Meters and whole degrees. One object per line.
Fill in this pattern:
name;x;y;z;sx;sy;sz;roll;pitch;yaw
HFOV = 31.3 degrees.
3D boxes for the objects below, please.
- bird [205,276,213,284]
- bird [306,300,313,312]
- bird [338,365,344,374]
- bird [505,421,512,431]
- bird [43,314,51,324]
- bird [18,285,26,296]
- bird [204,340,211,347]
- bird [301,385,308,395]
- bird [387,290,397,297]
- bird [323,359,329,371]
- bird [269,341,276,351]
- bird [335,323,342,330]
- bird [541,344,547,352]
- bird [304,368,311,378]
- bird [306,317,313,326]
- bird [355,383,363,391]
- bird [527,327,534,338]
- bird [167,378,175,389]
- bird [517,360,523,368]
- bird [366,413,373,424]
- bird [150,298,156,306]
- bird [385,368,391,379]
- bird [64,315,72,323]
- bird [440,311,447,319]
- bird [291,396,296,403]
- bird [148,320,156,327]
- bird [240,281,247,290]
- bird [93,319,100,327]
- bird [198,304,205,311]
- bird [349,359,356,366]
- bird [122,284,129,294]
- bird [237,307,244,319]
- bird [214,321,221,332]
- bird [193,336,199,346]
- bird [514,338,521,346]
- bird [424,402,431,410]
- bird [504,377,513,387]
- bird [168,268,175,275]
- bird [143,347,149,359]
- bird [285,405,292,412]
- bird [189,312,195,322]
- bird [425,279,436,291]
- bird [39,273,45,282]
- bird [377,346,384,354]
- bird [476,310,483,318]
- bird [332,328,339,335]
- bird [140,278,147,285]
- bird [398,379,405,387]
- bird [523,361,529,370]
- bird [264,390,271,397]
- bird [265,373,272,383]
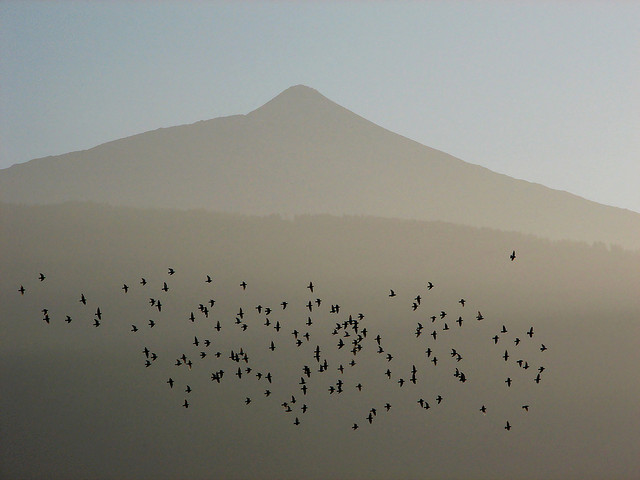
bird;-4.587;1.691;46.663;0.307;0.234;0.149;0;0;-8
bird;-0.474;2.769;46.592;0.246;0.399;0.487;0;0;4
bird;0.839;5.292;45.869;0.176;0.298;0.074;0;0;0
bird;7.463;7.543;45.511;0.306;0.500;0.120;0;-12;-3
bird;-10.979;3.263;45.817;0.222;0.373;0.112;0;0;9
bird;-12.094;2.134;46.084;0.287;0.443;0.349;0;1;37
bird;-4.559;4.248;45.737;0.225;0.272;0.091;0;0;-8
bird;-0.665;6.076;45.439;0.225;0.343;0.084;0;0;-2
bird;2.945;2.299;47.465;0.359;0.447;0.166;1;-11;17
bird;0.184;5.136;45.832;0.176;0.394;0.129;0;0;-1
bird;-1.952;4.370;45.808;0.226;0.296;0.096;0;0;-4
bird;0.713;3.625;46.403;0.165;0.395;0.285;4;-6;18
bird;9.188;4.573;46.993;0.241;0.213;0.119;0;0;-36
bird;-0.541;5.439;45.613;0.251;0.348;0.082;0;-7;-8
bird;-0.460;3.404;46.339;0.252;0.326;0.158;0;0;-40
bird;1.551;6.026;45.732;0.201;0.268;0.084;0;0;1
bird;8.752;3.929;47.340;0.277;0.274;0.379;0;0;-14
bird;-5.956;5.794;45.117;0.271;0.311;0.111;-3;-14;2
bird;8.151;5.179;46.628;0.212;0.246;0.073;-2;-6;2
bird;1.962;7.202;45.300;0.191;0.356;0.135;0;0;17
bird;-6.821;2.582;46.162;0.152;0.299;0.171;0;0;-20
bird;2.714;5.531;46.014;0.290;0.348;0.088;3;-11;-5
bird;-10.117;3.260;45.754;0.245;0.272;0.094;0;0;12
bird;5.060;3.217;47.269;0.172;0.195;0.419;0;0;-4
bird;-1.090;6.469;45.287;0.228;0.261;0.066;0;-2;-2
bird;-6.774;3.442;45.810;0.259;0.275;0.112;0;0;2
bird;-3.177;1.952;46.776;0.210;0.282;0.265;0;0;33
bird;-8.974;3.421;45.705;0.188;0.298;0.091;0;0;0
bird;-4.845;2.818;46.199;0.245;0.245;0.267;0;0;-20
bird;1.262;5.069;45.997;0.319;0.367;0.155;-3;-14;3
bird;-7.900;2.038;46.086;0.193;0.328;0.533;0;0;-17
bird;-3.228;3.051;46.262;0.152;0.450;0.189;0;0;-5
bird;-4.163;3.586;45.989;0.187;0.354;0.120;1;5;0
bird;-5.010;4.161;45.693;0.209;0.391;0.095;0;-3;-11
bird;8.117;4.330;47.085;0.103;0.290;0.250;10;-35;-25
bird;4.253;6.773;45.558;0.227;0.116;0.374;-4;29;1
bird;7.590;5.884;46.224;0.285;0.328;0.083;3;-11;4
bird;-6.098;1.343;46.517;0.256;0.253;0.543;0;0;-10
bird;-6.966;4.576;45.464;0.234;0.364;0.100;0;0;28
bird;-1.280;6.802;45.148;0.223;0.261;0.104;0;0;-3
bird;-5.213;3.208;46.027;0.206;0.371;0.091;1;-4;-23
bird;4.577;1.934;47.901;0.293;0.462;0.159;-3;-17;12
bird;-11.351;1.592;46.330;0.163;0.353;0.472;0;0;-20
bird;2.425;4.588;46.381;0.252;0.404;0.201;-2;-9;-16
bird;6.621;3.182;47.535;0.064;0.271;0.248;4;-2;-22
bird;0.590;3.817;46.258;0.305;0.392;0.228;0;-3;1
bird;-7.238;1.748;46.440;0.234;0.255;0.137;0;0;11
bird;3.236;5.864;45.959;0.227;0.242;0.114;0;0;3
bird;8.395;5.255;46.608;0.256;0.297;0.080;4;2;1
bird;-2.104;6.205;45.277;0.223;0.240;0.088;0;0;-4
bird;-2.074;5.627;45.481;0.153;0.341;0.102;0;0;0
